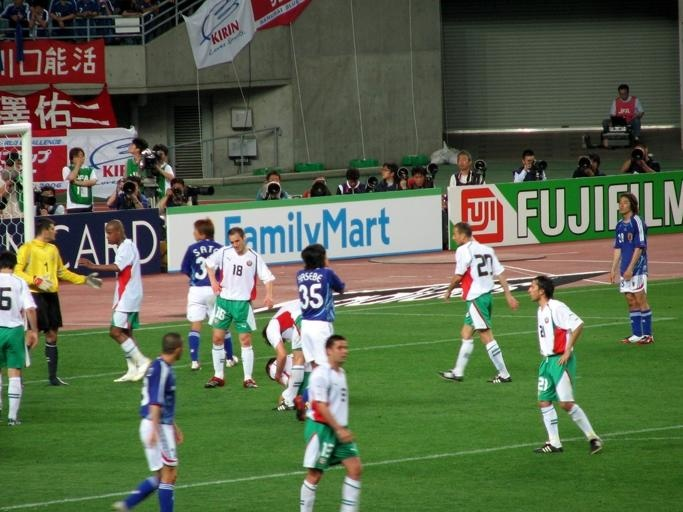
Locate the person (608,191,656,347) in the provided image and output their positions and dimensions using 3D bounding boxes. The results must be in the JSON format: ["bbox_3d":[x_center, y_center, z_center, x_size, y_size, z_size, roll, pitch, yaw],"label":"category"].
[{"bbox_3d":[5.798,0.219,28.464,0.858,2.918,0.851,2,14,11],"label":"person"}]

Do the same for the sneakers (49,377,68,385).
[{"bbox_3d":[-5.166,2.293,26.483,0.384,0.161,0.126,1,6,-17],"label":"sneakers"}]

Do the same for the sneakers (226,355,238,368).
[{"bbox_3d":[-2.097,2.015,27.818,0.108,0.135,0.321,6,16,18],"label":"sneakers"}]

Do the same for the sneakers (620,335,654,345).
[{"bbox_3d":[5.858,1.643,28.398,0.585,0.232,0.209,3,0,8],"label":"sneakers"}]

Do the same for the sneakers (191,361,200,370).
[{"bbox_3d":[-2.768,2.054,27.415,0.152,0.189,0.236,-2,13,-5],"label":"sneakers"}]

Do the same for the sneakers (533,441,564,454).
[{"bbox_3d":[3.360,3.110,23.383,0.511,0.215,0.173,2,-3,5],"label":"sneakers"}]

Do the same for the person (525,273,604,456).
[{"bbox_3d":[3.510,1.792,23.203,0.881,2.748,1.272,-7,15,-25],"label":"person"}]

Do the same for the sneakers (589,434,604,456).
[{"bbox_3d":[4.095,3.030,23.099,0.136,0.161,0.379,1,4,18],"label":"sneakers"}]

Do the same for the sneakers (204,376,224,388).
[{"bbox_3d":[-2.316,2.303,26.330,0.322,0.142,0.175,1,-1,10],"label":"sneakers"}]

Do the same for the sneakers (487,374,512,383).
[{"bbox_3d":[2.909,2.250,26.484,0.469,0.207,0.158,3,2,6],"label":"sneakers"}]

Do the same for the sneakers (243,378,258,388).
[{"bbox_3d":[-1.659,2.332,26.254,0.128,0.107,0.242,0,-6,-29],"label":"sneakers"}]

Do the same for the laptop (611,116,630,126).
[{"bbox_3d":[8.632,-4.153,44.489,0.539,0.313,0.443,2,14,11],"label":"laptop"}]

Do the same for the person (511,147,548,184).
[{"bbox_3d":[5.243,-2.336,39.329,0.792,0.908,1.336,-8,-3,-14],"label":"person"}]

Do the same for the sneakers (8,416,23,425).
[{"bbox_3d":[-5.543,2.800,24.547,0.097,0.120,0.274,2,5,27],"label":"sneakers"}]

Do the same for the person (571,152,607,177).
[{"bbox_3d":[6.830,-2.515,39.623,0.821,0.761,1.322,1,13,8],"label":"person"}]

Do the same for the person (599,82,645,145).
[{"bbox_3d":[8.773,-4.363,44.801,1.144,1.969,1.508,2,14,11],"label":"person"}]

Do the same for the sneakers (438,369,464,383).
[{"bbox_3d":[2.037,2.193,26.508,0.459,0.195,0.172,13,2,13],"label":"sneakers"}]
